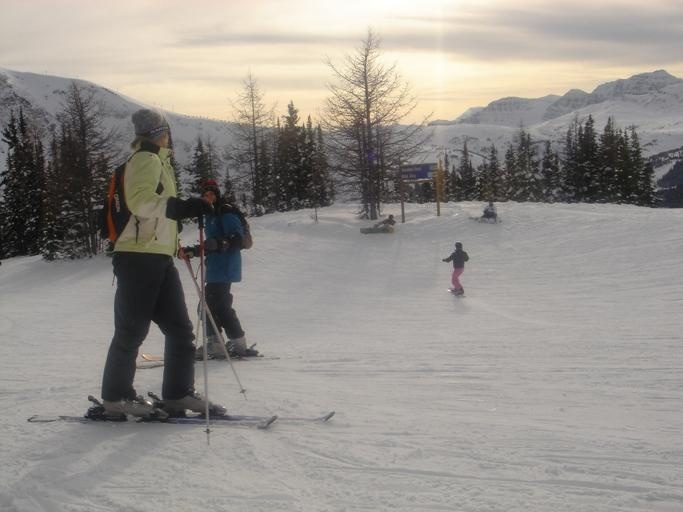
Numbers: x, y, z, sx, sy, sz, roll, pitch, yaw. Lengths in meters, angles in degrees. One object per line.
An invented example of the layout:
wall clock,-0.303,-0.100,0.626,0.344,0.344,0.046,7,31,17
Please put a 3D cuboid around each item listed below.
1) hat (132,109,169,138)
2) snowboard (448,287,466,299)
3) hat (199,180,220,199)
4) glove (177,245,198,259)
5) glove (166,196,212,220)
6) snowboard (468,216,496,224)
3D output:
hat,-2.683,-1.885,12.347,0.483,0.347,0.351,-20,25,-23
snowboard,2.673,0.876,20.467,0.442,0.145,0.180,13,54,30
hat,-2.229,-1.156,14.938,0.362,0.237,0.276,-1,8,-19
glove,-2.261,-0.057,12.847,0.235,0.102,0.168,-1,4,34
glove,-2.105,-0.644,12.164,0.623,0.354,0.318,-2,12,-8
snowboard,5.074,-1.294,31.635,0.748,0.143,0.144,11,48,28
